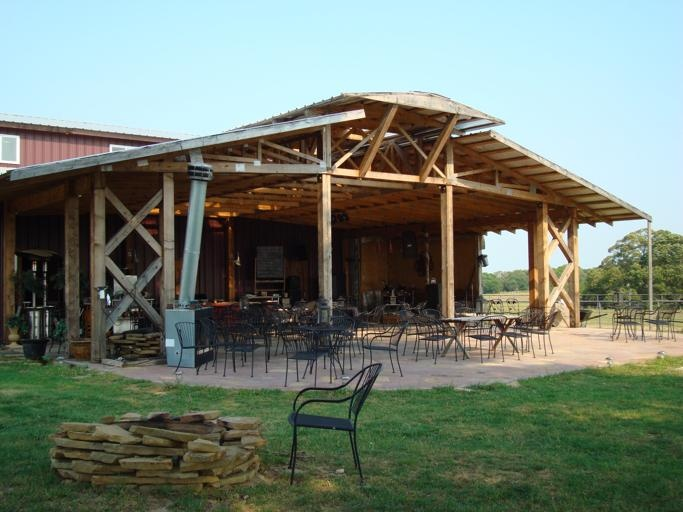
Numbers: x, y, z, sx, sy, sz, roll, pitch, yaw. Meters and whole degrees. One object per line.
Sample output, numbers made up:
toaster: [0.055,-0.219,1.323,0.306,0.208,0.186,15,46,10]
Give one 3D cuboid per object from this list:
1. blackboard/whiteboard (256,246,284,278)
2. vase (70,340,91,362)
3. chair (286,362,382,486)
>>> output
blackboard/whiteboard: [-2.010,0.223,18.864,1.184,1.073,0.626,0,1,30]
vase: [-4.687,1.704,10.938,0.314,0.342,0.637,1,-6,-27]
chair: [-0.077,1.600,5.852,0.889,1.063,0.698,1,-4,-6]
